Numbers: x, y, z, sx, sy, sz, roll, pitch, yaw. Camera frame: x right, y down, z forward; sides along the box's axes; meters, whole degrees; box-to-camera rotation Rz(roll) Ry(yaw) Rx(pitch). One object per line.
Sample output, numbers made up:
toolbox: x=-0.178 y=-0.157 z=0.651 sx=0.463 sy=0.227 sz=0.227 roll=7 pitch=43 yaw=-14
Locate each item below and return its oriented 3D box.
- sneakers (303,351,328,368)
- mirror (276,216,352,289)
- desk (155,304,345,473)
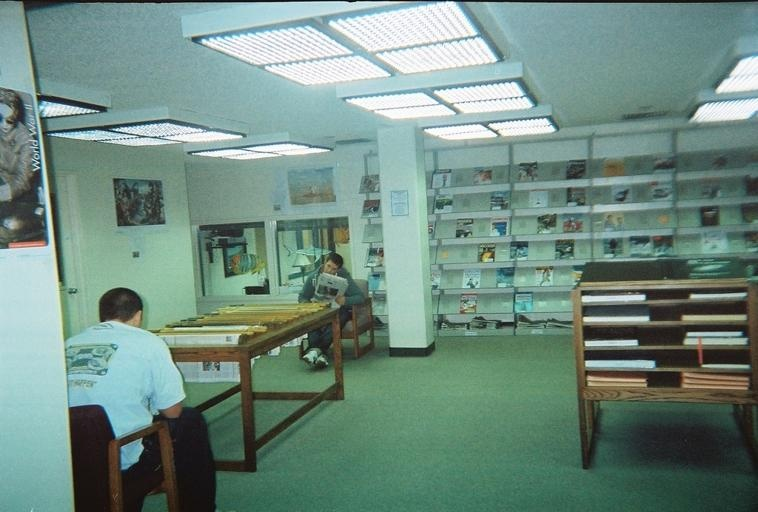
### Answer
sneakers: x=-0.824 y=1.358 z=7.744 sx=0.210 sy=0.158 sz=0.414 roll=0 pitch=0 yaw=12
mirror: x=-1.080 y=-0.117 z=10.037 sx=1.748 sy=1.201 sz=0.116 roll=0 pitch=4 yaw=16
desk: x=-1.331 y=1.123 z=5.680 sx=1.508 sy=1.062 sz=2.450 roll=-1 pitch=2 yaw=16
